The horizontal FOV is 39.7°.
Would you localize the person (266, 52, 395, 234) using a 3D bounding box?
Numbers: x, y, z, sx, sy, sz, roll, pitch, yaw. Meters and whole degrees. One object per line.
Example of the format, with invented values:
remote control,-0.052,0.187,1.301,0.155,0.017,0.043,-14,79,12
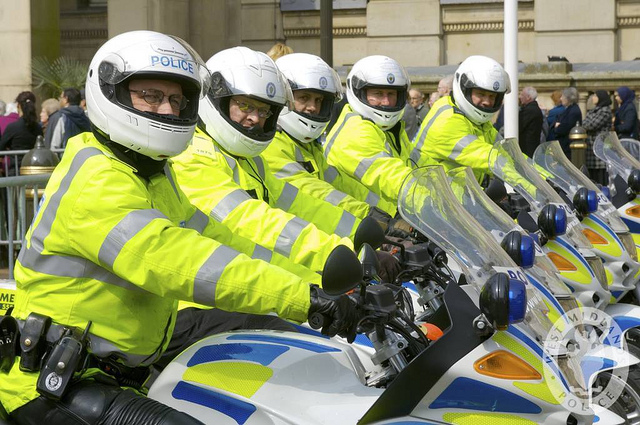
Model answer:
person,-0.111,-0.637,7.171,1.474,1.333,0.967,-4,18,4
